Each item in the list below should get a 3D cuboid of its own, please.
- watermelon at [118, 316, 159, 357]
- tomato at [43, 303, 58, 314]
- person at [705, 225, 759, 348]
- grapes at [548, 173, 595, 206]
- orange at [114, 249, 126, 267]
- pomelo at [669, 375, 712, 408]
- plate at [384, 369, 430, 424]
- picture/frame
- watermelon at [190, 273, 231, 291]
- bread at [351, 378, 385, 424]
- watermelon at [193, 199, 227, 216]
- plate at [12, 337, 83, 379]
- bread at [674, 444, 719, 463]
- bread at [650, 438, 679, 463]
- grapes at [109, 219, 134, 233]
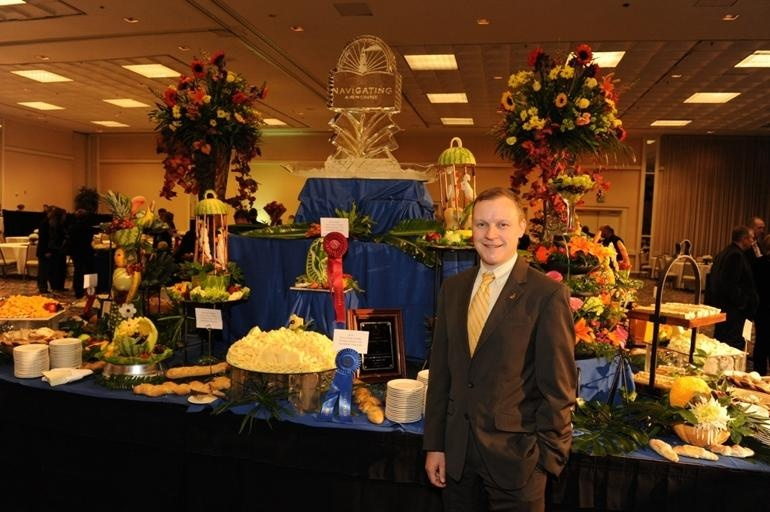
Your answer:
[{"bbox_3d":[-2.059,0.661,4.505,0.205,0.306,0.284,-12,16,0],"label":"watermelon"},{"bbox_3d":[-3.133,0.477,5.116,0.085,0.044,0.085,7,-3,-14],"label":"tomato"},{"bbox_3d":[4.569,0.414,7.198,0.544,1.751,0.672,2,0,31],"label":"person"},{"bbox_3d":[1.402,-0.520,4.153,0.273,0.159,0.264,-13,13,-35],"label":"grapes"},{"bbox_3d":[-2.303,0.010,4.744,0.097,0.122,0.050,2,0,-22],"label":"orange"},{"bbox_3d":[2.095,0.897,3.785,0.228,0.215,0.214,2,3,-15],"label":"pomelo"},{"bbox_3d":[0.150,1.021,3.936,0.279,0.199,0.277,2,-2,1],"label":"plate"},{"bbox_3d":[-0.087,0.714,4.269,0.588,0.742,0.075,3,-20,-12],"label":"picture/frame"},{"bbox_3d":[-1.524,0.209,4.768,0.305,0.127,0.186,2,0,-20],"label":"watermelon"},{"bbox_3d":[-0.137,1.127,3.976,0.184,0.106,0.466,13,10,-13],"label":"bread"},{"bbox_3d":[-1.568,-0.447,4.933,0.294,0.135,0.244,2,0,-36],"label":"watermelon"},{"bbox_3d":[-2.704,0.803,4.384,0.458,0.187,0.279,-1,2,-41],"label":"plate"},{"bbox_3d":[2.029,1.277,3.581,0.173,0.039,0.119,3,0,10],"label":"bread"},{"bbox_3d":[1.830,1.259,3.583,0.083,0.046,0.154,-9,20,-11],"label":"bread"},{"bbox_3d":[-2.269,-0.260,4.674,0.156,0.102,0.068,-4,12,-18],"label":"grapes"}]
